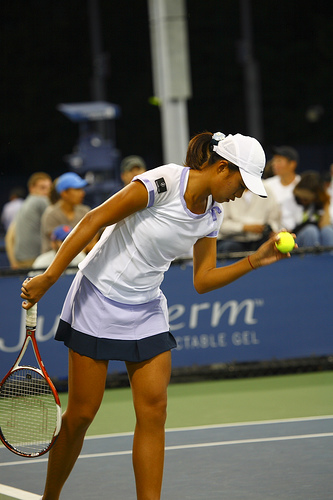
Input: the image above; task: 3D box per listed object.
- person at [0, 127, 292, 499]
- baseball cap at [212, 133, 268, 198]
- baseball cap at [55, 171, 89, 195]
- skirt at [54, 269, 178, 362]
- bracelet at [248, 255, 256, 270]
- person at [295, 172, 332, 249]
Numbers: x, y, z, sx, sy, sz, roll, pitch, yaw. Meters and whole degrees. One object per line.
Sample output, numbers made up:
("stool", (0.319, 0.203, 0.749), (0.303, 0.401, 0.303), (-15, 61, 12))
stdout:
("person", (-0.056, 0.255, 2.201), (0.969, 1.074, 0.486), (-4, -2, 9))
("baseball cap", (0.285, -0.318, 2.050), (0.250, 0.136, 0.170), (40, 18, 10))
("baseball cap", (-0.945, -0.670, 5.660), (0.334, 0.161, 0.221), (-14, 17, 2))
("skirt", (-0.193, 0.207, 2.287), (0.455, 0.402, 0.264), (8, 18, -6))
("bracelet", (0.336, 0.049, 2.260), (0.012, 0.052, 0.053), (-27, 50, 3))
("person", (1.462, -0.426, 5.752), (0.335, 0.702, 0.605), (-5, -2, 14))
